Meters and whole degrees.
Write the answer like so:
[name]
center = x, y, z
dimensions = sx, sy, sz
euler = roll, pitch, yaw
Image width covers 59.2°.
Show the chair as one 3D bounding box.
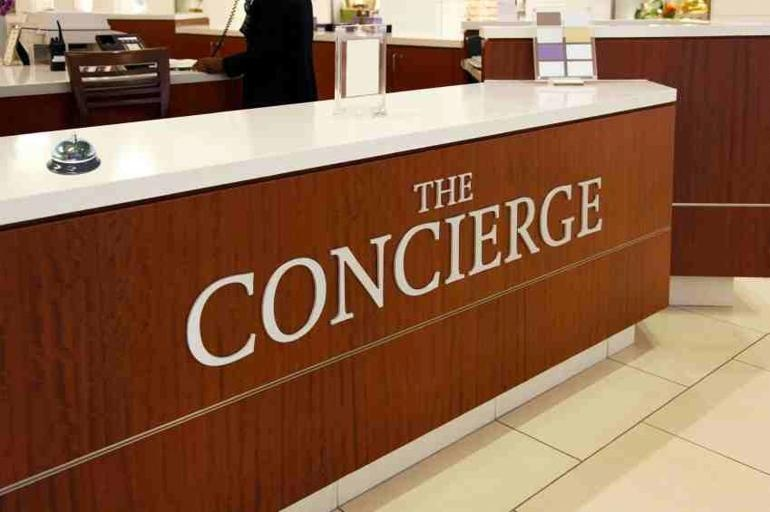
[chair]
center = -1.503, -0.978, 3.854
dimensions = 0.307, 0.420, 0.521
euler = 10, 26, 31
